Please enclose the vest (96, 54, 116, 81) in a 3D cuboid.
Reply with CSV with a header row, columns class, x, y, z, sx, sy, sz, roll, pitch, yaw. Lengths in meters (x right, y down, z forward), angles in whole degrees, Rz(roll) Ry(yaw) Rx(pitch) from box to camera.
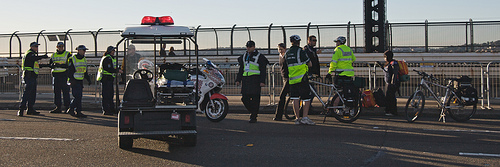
class,x,y,z,sx,sy,sz,roll,pitch,yaw
vest,-11.346,-1.252,38.870,1.303,2.037,1.324,1,0,10
